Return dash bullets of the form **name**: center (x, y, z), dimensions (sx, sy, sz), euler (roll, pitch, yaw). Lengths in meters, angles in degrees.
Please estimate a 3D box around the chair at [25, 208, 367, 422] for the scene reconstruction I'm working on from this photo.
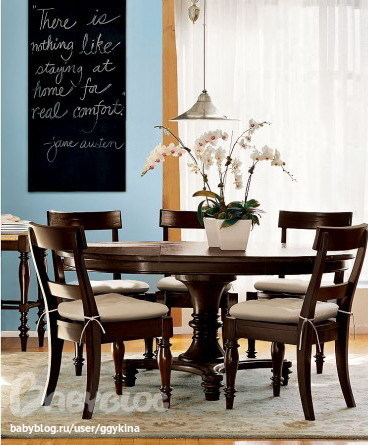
- **chair**: center (-0.030, 0.381, 2.070), dimensions (1.187, 0.743, 0.771), euler (1, -2, -12)

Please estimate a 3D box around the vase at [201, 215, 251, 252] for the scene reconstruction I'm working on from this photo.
- **vase**: center (0.187, 0.042, 2.159), dimensions (0.133, 0.110, 0.185), euler (2, -4, -11)
